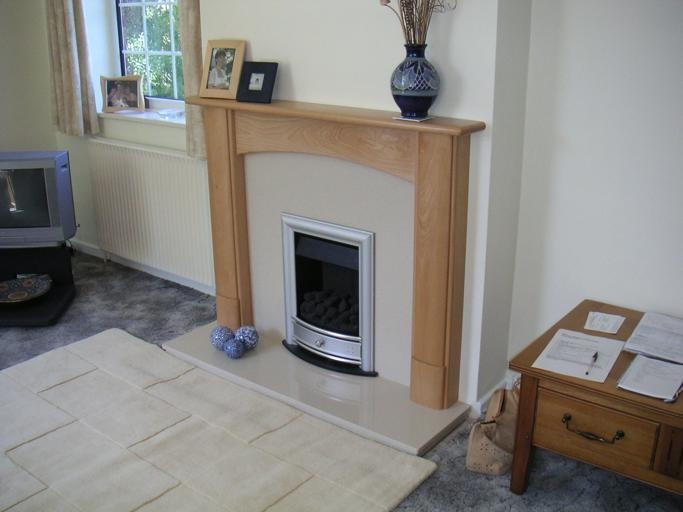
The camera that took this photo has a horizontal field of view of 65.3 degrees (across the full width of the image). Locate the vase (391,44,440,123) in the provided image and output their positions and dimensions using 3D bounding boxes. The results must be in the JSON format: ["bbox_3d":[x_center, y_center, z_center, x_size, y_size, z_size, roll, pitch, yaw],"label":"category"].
[{"bbox_3d":[0.328,-0.809,2.469,0.274,0.379,0.286,8,30,15],"label":"vase"}]

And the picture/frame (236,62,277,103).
[{"bbox_3d":[-0.448,-0.935,2.874,0.218,0.232,0.022,8,-1,36],"label":"picture/frame"}]

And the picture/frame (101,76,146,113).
[{"bbox_3d":[-1.730,-1.284,4.224,0.279,0.250,0.020,3,13,19],"label":"picture/frame"}]

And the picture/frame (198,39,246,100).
[{"bbox_3d":[-0.660,-1.050,3.007,0.333,0.401,0.025,15,12,36],"label":"picture/frame"}]
